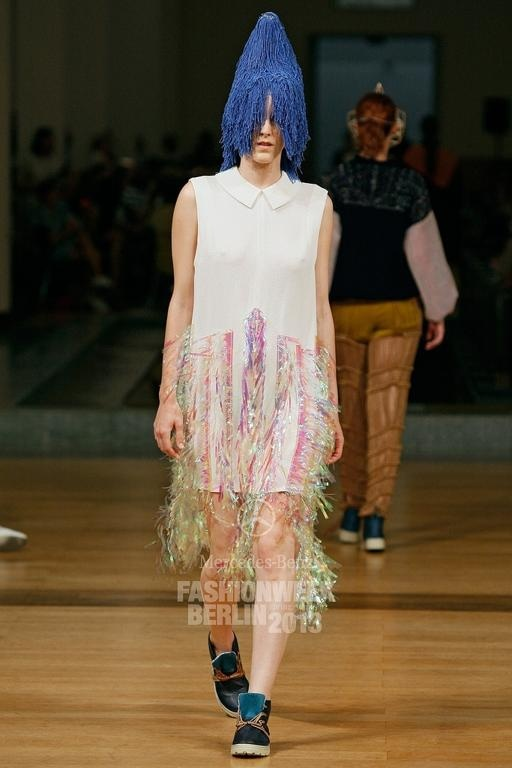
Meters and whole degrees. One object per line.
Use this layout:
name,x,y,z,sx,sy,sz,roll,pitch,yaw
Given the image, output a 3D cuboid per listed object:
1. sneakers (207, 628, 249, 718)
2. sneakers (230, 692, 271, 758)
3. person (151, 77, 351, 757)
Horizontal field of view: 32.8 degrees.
sneakers,-0.055,0.535,1.644,0.058,0.162,0.067,-13,-9,-6
sneakers,-0.005,0.548,1.394,0.044,0.061,0.129,-1,-11,4
person,-0.018,0.059,1.523,0.329,1.117,0.328,1,2,3
